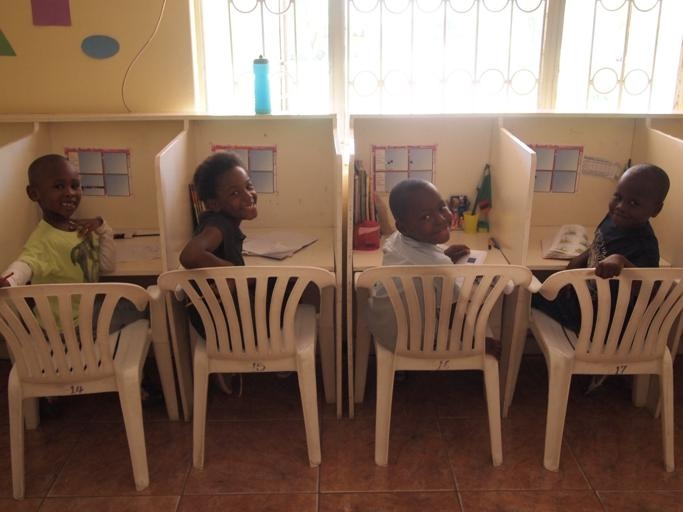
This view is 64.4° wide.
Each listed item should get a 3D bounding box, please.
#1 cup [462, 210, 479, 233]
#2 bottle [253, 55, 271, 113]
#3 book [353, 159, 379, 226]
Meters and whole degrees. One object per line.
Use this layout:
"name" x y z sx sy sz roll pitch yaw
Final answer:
"cup" 0.677 -0.178 2.859 0.092 0.102 0.098 0 9 0
"bottle" -0.398 -0.845 2.699 0.086 0.273 0.159 -4 17 -8
"book" 0.108 -0.319 2.706 0.085 0.279 0.203 0 5 3
